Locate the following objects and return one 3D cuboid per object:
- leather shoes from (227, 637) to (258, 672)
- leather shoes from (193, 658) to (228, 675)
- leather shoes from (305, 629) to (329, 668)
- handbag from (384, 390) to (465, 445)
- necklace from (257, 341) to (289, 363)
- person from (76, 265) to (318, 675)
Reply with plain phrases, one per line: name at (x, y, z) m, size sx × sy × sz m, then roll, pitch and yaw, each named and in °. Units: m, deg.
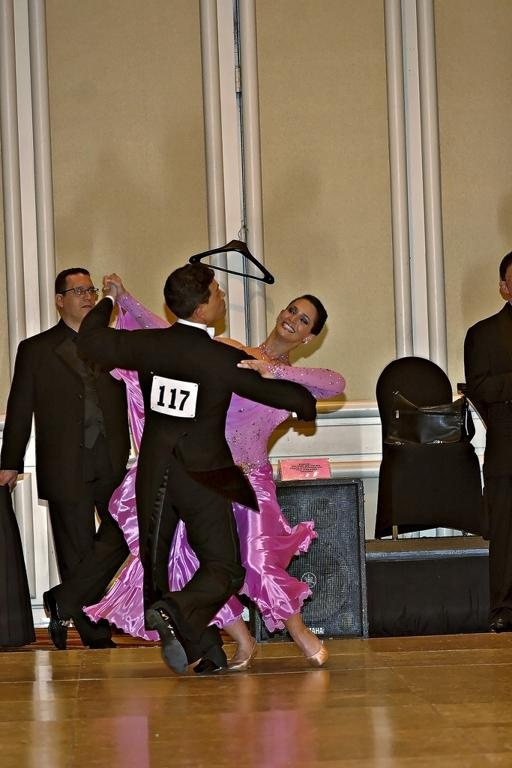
leather shoes at (-0.044, 0.917, 2.878) m, size 0.049 × 0.046 × 0.137 m, roll -6°, pitch -2°, yaw 18°
leather shoes at (-0.154, 0.927, 2.834) m, size 0.132 × 0.038 × 0.046 m, roll 7°, pitch -23°, yaw -12°
leather shoes at (0.214, 0.896, 2.905) m, size 0.047 × 0.060 × 0.117 m, roll 6°, pitch 25°, yaw -12°
handbag at (0.808, 0.157, 4.018) m, size 0.406 × 0.220 × 0.227 m, roll 2°, pitch 5°, yaw 5°
necklace at (0.067, -0.104, 3.224) m, size 0.070 × 0.047 × 0.097 m, roll 27°, pitch -5°, yaw 43°
person at (-0.196, 0.250, 2.714) m, size 0.710 × 1.221 × 0.334 m, roll 0°, pitch -6°, yaw -11°
